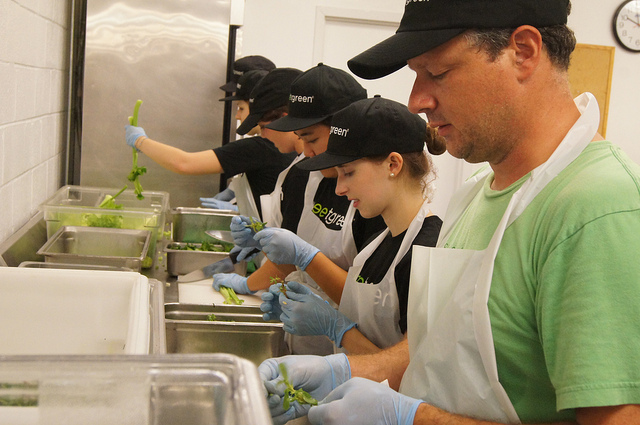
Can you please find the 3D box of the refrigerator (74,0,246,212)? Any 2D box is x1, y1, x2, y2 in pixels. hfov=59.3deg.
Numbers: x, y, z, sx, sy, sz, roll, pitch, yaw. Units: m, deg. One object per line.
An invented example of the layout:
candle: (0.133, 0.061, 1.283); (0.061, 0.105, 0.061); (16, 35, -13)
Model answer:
refrigerator: (-1.162, -0.882, 4.628); (1.251, 2.482, 1.210); (0, 7, -6)

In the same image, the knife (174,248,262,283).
knife: (-0.485, 0.245, 2.609); (0.356, 0.065, 0.027); (-25, -4, -30)

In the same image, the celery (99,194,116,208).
celery: (-1.096, -0.068, 2.912); (0.028, 0.093, 0.041); (47, -17, -10)

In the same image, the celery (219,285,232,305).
celery: (-0.406, 0.353, 2.428); (0.029, 0.029, 0.099); (45, 16, -37)

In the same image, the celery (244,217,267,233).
celery: (-0.284, 0.057, 2.549); (0.071, 0.039, 0.073); (27, 15, 31)

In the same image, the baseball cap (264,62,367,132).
baseball cap: (-0.031, -0.482, 2.334); (0.485, 0.266, 0.315); (-15, 20, -25)

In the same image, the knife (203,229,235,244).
knife: (-0.540, 0.117, 2.993); (0.126, 0.033, 0.174); (3, 19, -21)

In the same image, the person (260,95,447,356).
person: (0.081, 0.012, 2.404); (0.773, 1.362, 0.632); (2, 4, -9)

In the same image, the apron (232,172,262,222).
apron: (-0.425, -0.087, 3.152); (0.053, 0.329, 0.306); (-15, 4, 13)

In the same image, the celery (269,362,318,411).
celery: (-0.072, 0.487, 1.525); (0.114, 0.051, 0.102); (18, -1, -4)
